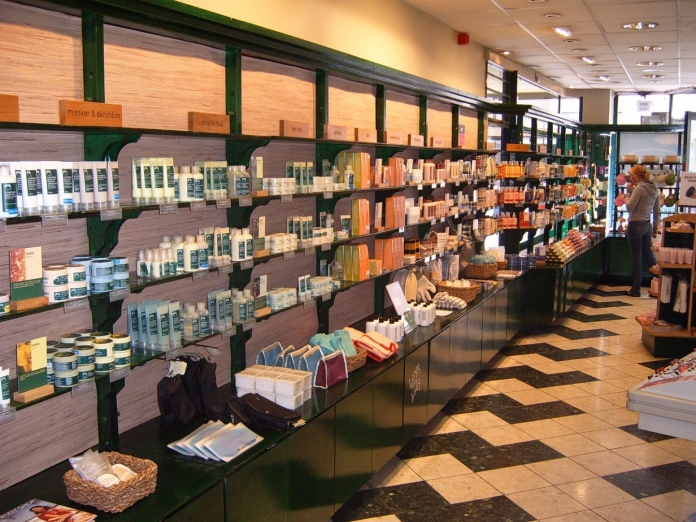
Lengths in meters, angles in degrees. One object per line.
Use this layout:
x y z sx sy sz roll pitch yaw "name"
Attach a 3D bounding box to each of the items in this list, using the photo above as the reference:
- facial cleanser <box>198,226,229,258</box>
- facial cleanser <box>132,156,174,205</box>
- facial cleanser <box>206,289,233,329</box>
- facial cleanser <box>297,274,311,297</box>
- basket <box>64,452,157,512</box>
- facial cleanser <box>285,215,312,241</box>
-0.823 -0.108 3.184 0.073 0.190 0.187 -2 7 41 "facial cleanser"
-1.047 -0.439 2.862 0.123 0.242 0.255 5 12 25 "facial cleanser"
-0.813 0.308 3.324 0.142 0.233 0.163 -2 12 -9 "facial cleanser"
-0.336 0.195 3.992 0.061 0.143 0.166 0 5 25 "facial cleanser"
-1.131 1.036 2.570 0.368 0.196 0.344 5 12 24 "basket"
-0.354 -0.269 3.961 0.192 0.219 0.247 -3 7 -26 "facial cleanser"
